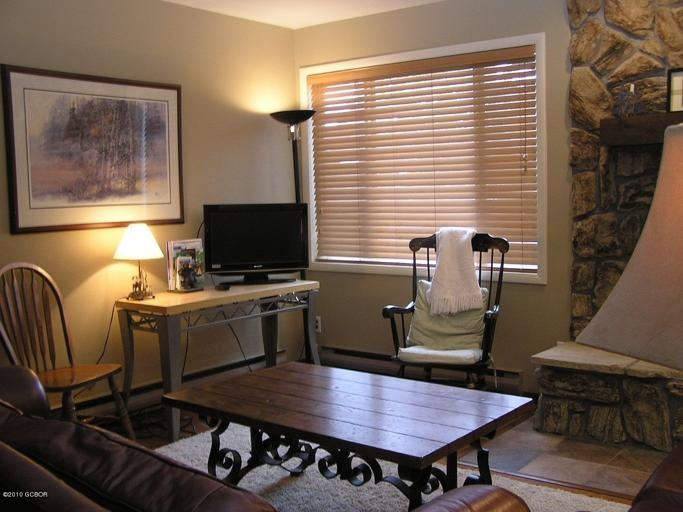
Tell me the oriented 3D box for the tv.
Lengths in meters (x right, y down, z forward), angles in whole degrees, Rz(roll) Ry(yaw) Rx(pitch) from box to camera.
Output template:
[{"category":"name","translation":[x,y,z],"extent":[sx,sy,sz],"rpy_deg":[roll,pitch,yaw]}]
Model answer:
[{"category":"tv","translation":[-0.703,-0.121,4.195],"extent":[0.608,0.480,0.164],"rpy_deg":[-1,-3,-21]}]

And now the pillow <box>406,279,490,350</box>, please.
[{"category":"pillow","translation":[0.778,0.537,3.866],"extent":[0.468,0.510,0.149],"rpy_deg":[3,4,20]}]

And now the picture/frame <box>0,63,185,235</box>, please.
[{"category":"picture/frame","translation":[-1.708,-0.735,3.677],"extent":[1.226,1.094,0.054],"rpy_deg":[-12,13,-44]}]

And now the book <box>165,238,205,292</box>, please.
[{"category":"book","translation":[-1.145,0.066,3.809],"extent":[0.072,0.520,0.374],"rpy_deg":[1,2,43]}]

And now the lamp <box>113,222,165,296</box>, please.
[{"category":"lamp","translation":[-1.427,0.040,3.677],"extent":[0.353,0.560,0.366],"rpy_deg":[6,11,21]}]

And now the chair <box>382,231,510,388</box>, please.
[{"category":"chair","translation":[0.783,0.438,3.800],"extent":[0.782,1.250,0.748],"rpy_deg":[1,1,31]}]
